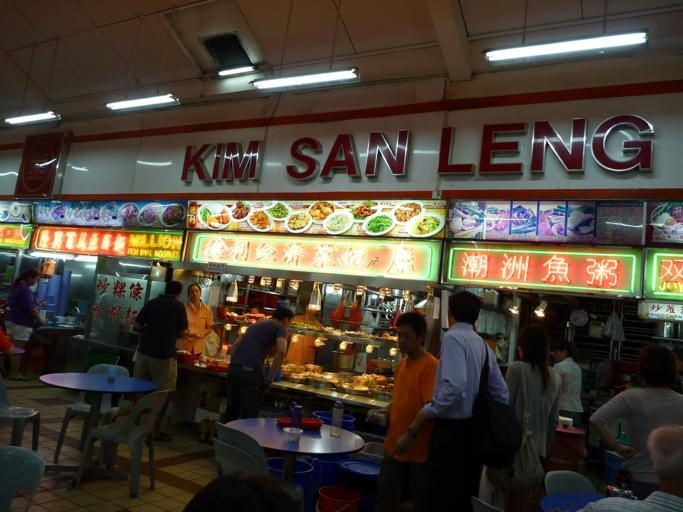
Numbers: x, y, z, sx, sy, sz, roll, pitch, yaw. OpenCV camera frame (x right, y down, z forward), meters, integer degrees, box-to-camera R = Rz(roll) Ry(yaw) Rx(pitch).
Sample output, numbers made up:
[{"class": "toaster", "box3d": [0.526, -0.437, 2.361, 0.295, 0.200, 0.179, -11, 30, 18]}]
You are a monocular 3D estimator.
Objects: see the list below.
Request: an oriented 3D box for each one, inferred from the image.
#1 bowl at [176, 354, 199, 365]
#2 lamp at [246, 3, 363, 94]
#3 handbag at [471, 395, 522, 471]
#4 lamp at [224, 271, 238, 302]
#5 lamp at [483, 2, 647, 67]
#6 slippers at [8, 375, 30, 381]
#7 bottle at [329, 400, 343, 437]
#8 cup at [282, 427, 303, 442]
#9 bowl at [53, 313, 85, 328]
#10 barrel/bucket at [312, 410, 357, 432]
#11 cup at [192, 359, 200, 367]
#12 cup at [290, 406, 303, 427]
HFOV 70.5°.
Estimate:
[{"class": "bowl", "box3d": [-2.212, 1.484, 6.933, 0.307, 0.133, 0.395, 4, -2, -3]}, {"class": "lamp", "box3d": [-0.478, -3.083, 7.097, 2.227, 0.443, 0.247, -1, -35, 18]}, {"class": "handbag", "box3d": [1.184, 1.319, 3.650, 0.358, 0.448, 0.268, 20, -32, -15]}, {"class": "lamp", "box3d": [-1.675, 0.500, 7.399, 0.207, 0.423, 0.093, 2, -9, 16]}, {"class": "lamp", "box3d": [2.265, -2.149, 5.007, 1.609, 0.135, 0.264, 12, 4, 41]}, {"class": "slippers", "box3d": [-5.539, 2.115, 8.365, 0.260, 0.093, 0.097, 2, -4, -12]}, {"class": "bottle", "box3d": [-0.038, 1.431, 4.277, 0.095, 0.267, 0.281, 5, -8, -1]}, {"class": "cup", "box3d": [-0.394, 1.440, 3.931, 0.126, 0.093, 0.187, 4, -8, 2]}, {"class": "bowl", "box3d": [-5.336, 1.283, 9.471, 0.453, 0.302, 0.305, 4, 10, -7]}, {"class": "barrel/bucket", "box3d": [-0.060, 1.760, 5.219, 0.386, 0.286, 0.370, 1, -15, 0]}, {"class": "cup", "box3d": [-2.067, 1.535, 6.962, 0.113, 0.103, 0.054, 1, -32, -4]}, {"class": "cup", "box3d": [-0.373, 1.362, 4.119, 0.083, 0.172, 0.164, 5, -8, -7]}]
